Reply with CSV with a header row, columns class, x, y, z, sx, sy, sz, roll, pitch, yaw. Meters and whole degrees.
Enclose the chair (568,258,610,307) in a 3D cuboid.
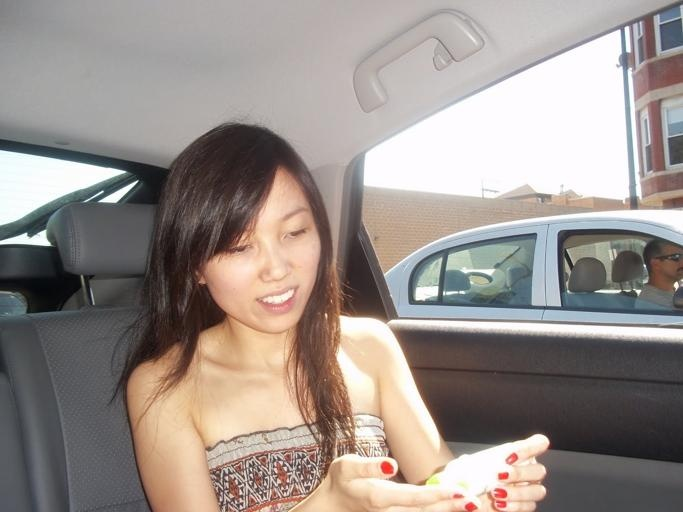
class,x,y,z,sx,sy,sz,roll,pitch,yaw
chair,1.217,0.136,2.592,0.177,0.246,0.214,0,0,10
